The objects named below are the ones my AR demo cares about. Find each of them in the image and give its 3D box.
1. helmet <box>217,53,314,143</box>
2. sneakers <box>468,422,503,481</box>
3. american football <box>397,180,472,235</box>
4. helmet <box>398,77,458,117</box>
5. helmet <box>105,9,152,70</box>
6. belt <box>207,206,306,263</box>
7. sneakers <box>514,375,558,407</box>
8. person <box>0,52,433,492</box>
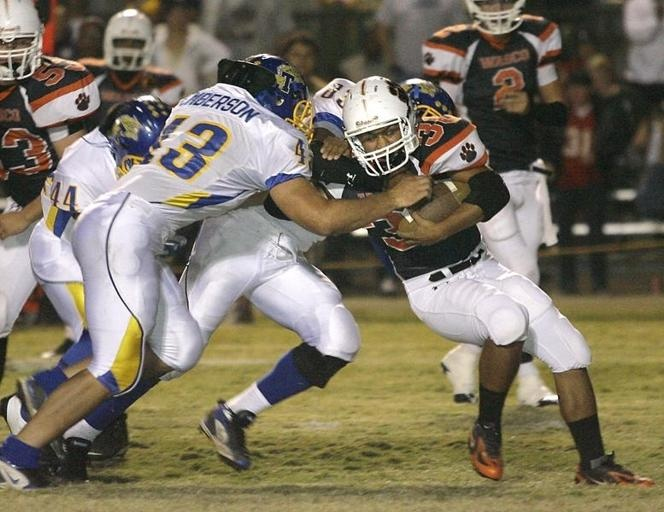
[{"bbox_3d":[-0.218,-0.671,3.947,0.387,0.372,0.297,-27,14,-18],"label":"helmet"},{"bbox_3d":[0.591,0.795,3.791,0.106,0.109,0.236,2,36,-13],"label":"sneakers"},{"bbox_3d":[0.440,-0.193,3.947,0.303,0.100,0.185,-37,67,-17],"label":"american football"},{"bbox_3d":[0.455,-0.724,4.327,0.276,0.166,0.258,18,16,40],"label":"helmet"},{"bbox_3d":[-1.337,-1.446,6.250,0.380,0.330,0.423,3,33,-10],"label":"helmet"},{"bbox_3d":[-0.300,-0.086,4.176,0.574,0.218,0.365,7,2,-4],"label":"belt"},{"bbox_3d":[0.941,0.674,4.623,0.296,0.153,0.090,-1,1,17],"label":"sneakers"},{"bbox_3d":[-0.524,0.030,3.742,1.597,1.668,0.466,-2,9,-6],"label":"person"}]
